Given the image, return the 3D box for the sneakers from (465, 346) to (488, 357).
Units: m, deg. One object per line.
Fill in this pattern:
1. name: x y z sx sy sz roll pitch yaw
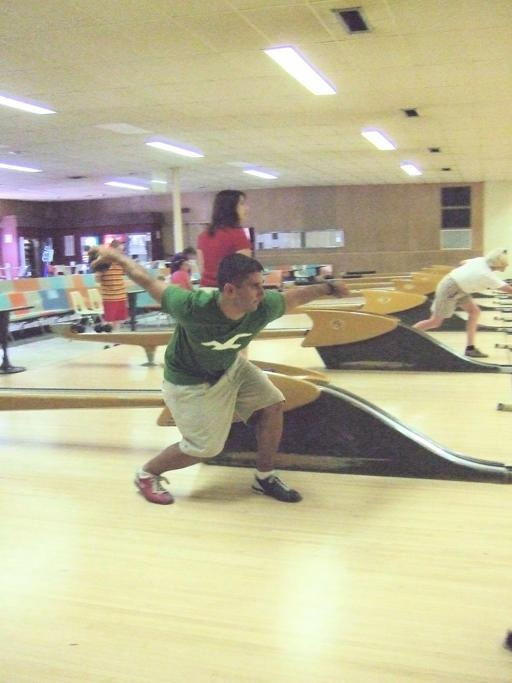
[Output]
1. sneakers: 1.931 0.085 5.137 0.245 0.127 0.080 -2 10 -1

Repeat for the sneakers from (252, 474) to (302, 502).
1. sneakers: 0.078 0.563 2.268 0.217 0.074 0.075 9 16 32

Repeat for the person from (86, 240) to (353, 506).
1. person: -0.145 0.128 2.150 0.826 0.976 0.446 1 10 19

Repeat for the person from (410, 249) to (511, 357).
1. person: 1.848 -0.335 5.136 0.738 0.932 0.536 1 10 23
